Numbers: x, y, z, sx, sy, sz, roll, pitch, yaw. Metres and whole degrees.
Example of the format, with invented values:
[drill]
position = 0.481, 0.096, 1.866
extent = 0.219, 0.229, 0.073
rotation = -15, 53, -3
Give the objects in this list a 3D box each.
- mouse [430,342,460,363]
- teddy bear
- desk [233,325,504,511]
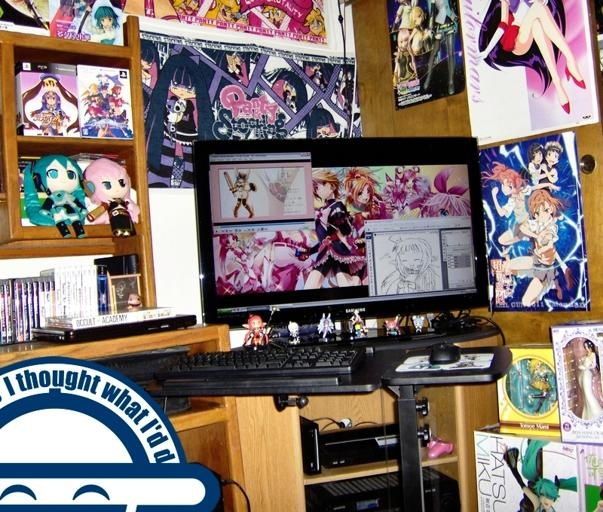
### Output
[mouse]
position = 0.400, 0.271, 1.555
extent = 0.044, 0.024, 0.070
rotation = -5, 6, 8
[teddy bear]
position = -0.727, -0.190, 1.824
extent = 0.087, 0.207, 0.264
rotation = -18, -10, 40
[desk]
position = 0.286, 0.574, 1.870
extent = 0.751, 0.620, 1.094
rotation = -3, -6, 19
